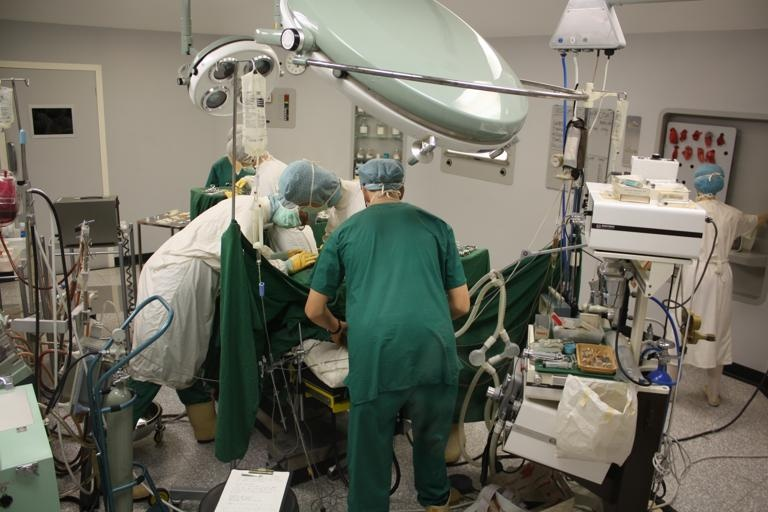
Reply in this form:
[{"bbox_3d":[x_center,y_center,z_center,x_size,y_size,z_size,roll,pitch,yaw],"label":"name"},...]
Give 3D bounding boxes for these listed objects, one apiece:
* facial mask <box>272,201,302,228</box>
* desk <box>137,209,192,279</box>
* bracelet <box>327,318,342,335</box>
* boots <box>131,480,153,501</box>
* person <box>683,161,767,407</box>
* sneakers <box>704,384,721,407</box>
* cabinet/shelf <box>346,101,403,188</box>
[{"bbox_3d":[-0.605,-0.250,3.733,0.130,0.128,0.156,7,10,-40],"label":"facial mask"},{"bbox_3d":[-2.088,-0.073,5.603,0.433,0.436,0.347,-7,-8,-30],"label":"desk"},{"bbox_3d":[-0.274,0.393,3.340,0.058,0.086,0.040,-4,5,-16],"label":"bracelet"},{"bbox_3d":[-1.419,1.388,3.550,0.112,0.125,0.058,2,9,6],"label":"boots"},{"bbox_3d":[2.490,0.221,4.632,0.444,1.833,0.796,8,12,39],"label":"person"},{"bbox_3d":[2.485,1.079,4.679,0.072,0.092,0.215,1,13,2],"label":"sneakers"},{"bbox_3d":[-0.092,-1.280,7.132,0.625,0.189,1.585,-18,-28,-11],"label":"cabinet/shelf"}]
